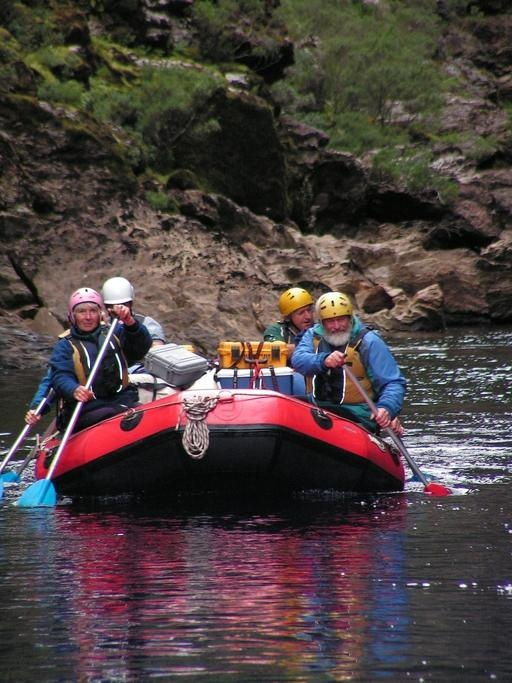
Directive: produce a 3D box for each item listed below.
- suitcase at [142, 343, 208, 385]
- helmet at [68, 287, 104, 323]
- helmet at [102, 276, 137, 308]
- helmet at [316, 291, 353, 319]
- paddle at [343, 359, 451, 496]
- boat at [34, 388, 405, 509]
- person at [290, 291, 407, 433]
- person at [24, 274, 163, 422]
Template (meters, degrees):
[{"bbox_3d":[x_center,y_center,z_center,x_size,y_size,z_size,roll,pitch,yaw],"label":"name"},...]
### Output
[{"bbox_3d":[-0.621,0.182,6.119,0.353,0.160,0.441,-10,26,-36],"label":"suitcase"},{"bbox_3d":[-1.298,-0.300,6.035,0.256,0.273,0.248,1,44,-9],"label":"helmet"},{"bbox_3d":[-1.123,-0.380,6.494,0.243,0.218,0.271,-2,43,-2],"label":"helmet"},{"bbox_3d":[0.573,-0.245,5.925,0.229,0.246,0.227,-3,40,0],"label":"helmet"},{"bbox_3d":[1.236,0.778,6.866,0.109,0.202,1.272,-24,68,-44],"label":"paddle"},{"bbox_3d":[-0.024,1.003,6.493,2.368,0.610,3.061,-3,-14,11],"label":"boat"},{"bbox_3d":[0.726,0.143,6.056,1.270,1.160,1.075,-1,2,10],"label":"person"},{"bbox_3d":[-1.160,0.126,5.959,0.890,0.983,0.803,-8,-3,16],"label":"person"}]
